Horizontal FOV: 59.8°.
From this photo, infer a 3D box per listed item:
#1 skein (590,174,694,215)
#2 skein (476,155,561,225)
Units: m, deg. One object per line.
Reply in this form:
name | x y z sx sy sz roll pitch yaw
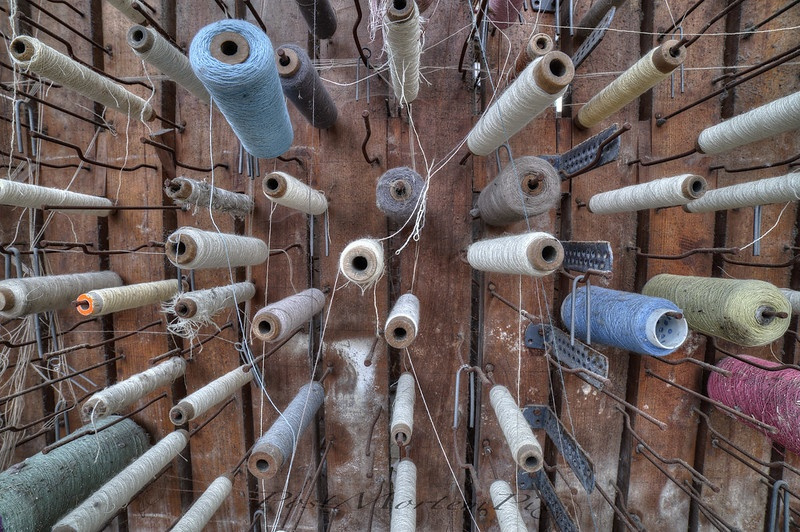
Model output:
skein | 2.678 -0.793 7.649 0.254 1.256 0.399 -3 -91 -25
skein | 1.300 -0.812 7.687 0.841 0.985 0.619 -31 -89 8
